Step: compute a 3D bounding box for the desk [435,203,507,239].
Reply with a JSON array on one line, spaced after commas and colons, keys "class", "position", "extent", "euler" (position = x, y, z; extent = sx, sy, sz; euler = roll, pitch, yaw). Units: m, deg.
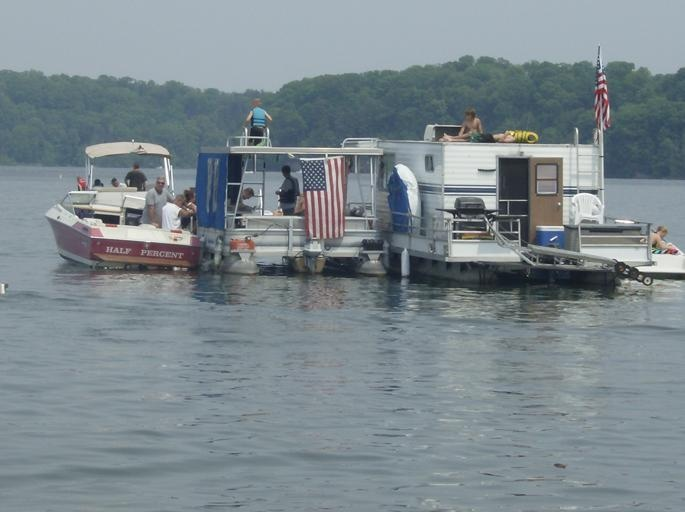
[{"class": "desk", "position": [3.373, -1.004, 49.901], "extent": [1.402, 0.971, 1.104], "euler": [-2, 7, -14]}]

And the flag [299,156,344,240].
[{"class": "flag", "position": [-0.673, -1.621, 52.349], "extent": [1.166, 2.327, 0.964], "euler": [-3, 12, -24]}]

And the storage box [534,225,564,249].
[{"class": "storage box", "position": [5.571, -0.508, 50.308], "extent": [1.021, 0.753, 0.528], "euler": [1, -3, -4]}]

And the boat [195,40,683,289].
[{"class": "boat", "position": [2.423, -1.671, 51.704], "extent": [12.207, 5.028, 4.510], "euler": [1, 3, 20]}]

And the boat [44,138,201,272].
[{"class": "boat", "position": [-6.594, -1.584, 55.523], "extent": [4.260, 3.664, 9.383], "euler": [-1, 3, -9]}]
